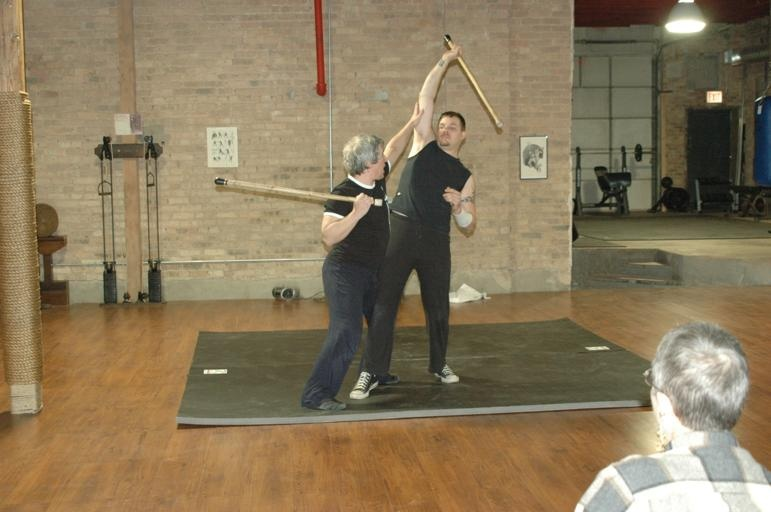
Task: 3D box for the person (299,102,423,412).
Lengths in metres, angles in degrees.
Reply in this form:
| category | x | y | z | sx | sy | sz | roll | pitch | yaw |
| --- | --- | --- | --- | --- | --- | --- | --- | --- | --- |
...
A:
| category | x | y | z | sx | sy | sz | roll | pitch | yaw |
| --- | --- | --- | --- | --- | --- | --- | --- | --- | --- |
| person | -0.270 | 0.104 | 6.348 | 0.601 | 2.198 | 1.049 | 3 | 15 | 15 |

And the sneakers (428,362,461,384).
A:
| category | x | y | z | sx | sy | sz | roll | pitch | yaw |
| --- | --- | --- | --- | --- | --- | --- | --- | --- | --- |
| sneakers | 0.534 | 1.062 | 6.788 | 0.123 | 0.132 | 0.303 | 3 | -5 | -35 |
